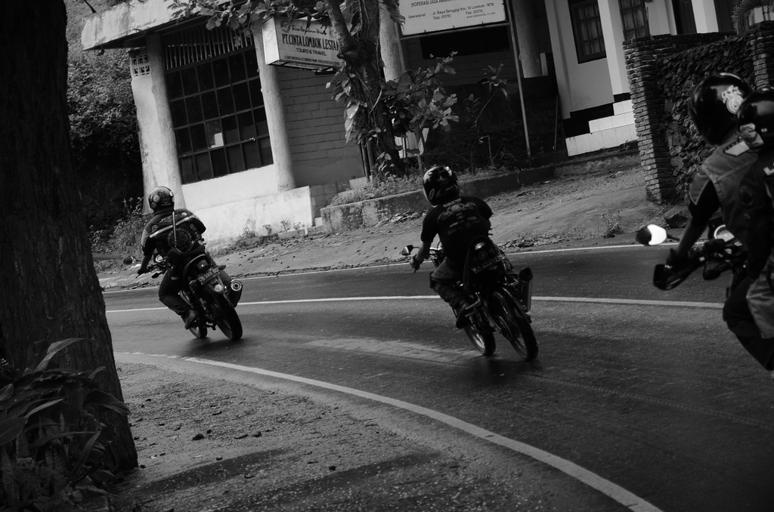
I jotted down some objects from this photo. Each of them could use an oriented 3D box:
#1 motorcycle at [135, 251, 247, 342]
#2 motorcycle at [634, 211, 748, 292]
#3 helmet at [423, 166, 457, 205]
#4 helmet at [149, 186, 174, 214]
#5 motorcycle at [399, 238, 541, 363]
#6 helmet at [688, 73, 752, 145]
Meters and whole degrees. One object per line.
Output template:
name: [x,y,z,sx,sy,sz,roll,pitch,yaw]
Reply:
motorcycle: [-3.230,0.758,12.508,0.694,1.677,1.380,-13,8,-41]
motorcycle: [2.336,-0.016,5.181,0.708,0.472,0.465,1,13,26]
helmet: [0.750,-0.912,9.053,0.398,0.519,0.507,-7,22,-18]
helmet: [-4.202,-1.049,12.928,0.455,0.548,0.519,-7,14,-28]
motorcycle: [1.389,0.555,8.707,0.458,1.568,1.134,-13,8,-41]
helmet: [2.496,-1.076,5.029,0.484,0.505,0.400,-7,-25,21]
